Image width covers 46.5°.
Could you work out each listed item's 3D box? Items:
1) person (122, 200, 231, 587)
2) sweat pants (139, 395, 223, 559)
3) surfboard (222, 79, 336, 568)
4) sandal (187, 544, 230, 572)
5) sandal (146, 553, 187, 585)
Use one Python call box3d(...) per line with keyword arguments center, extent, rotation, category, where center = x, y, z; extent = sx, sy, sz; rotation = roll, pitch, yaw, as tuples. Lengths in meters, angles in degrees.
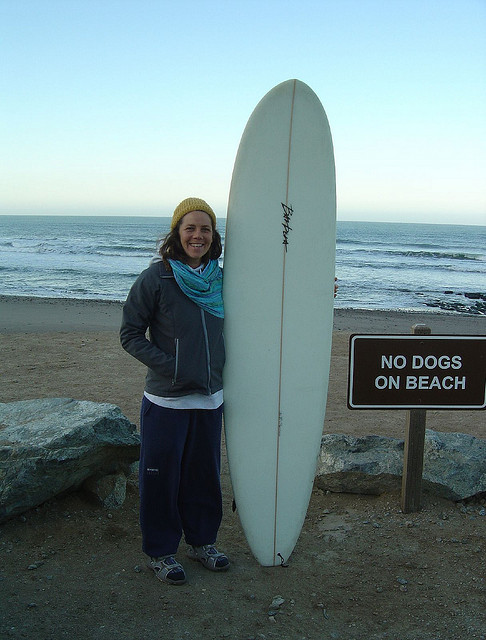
box3d(center=(-0.284, 0.320, 2.434), extent=(0.455, 1.638, 0.290), rotation=(-2, 6, -19), category="person")
box3d(center=(-0.263, 0.686, 2.454), extent=(0.357, 0.711, 0.192), rotation=(-1, 6, -16), category="sweat pants")
box3d(center=(0.185, 0.012, 2.768), extent=(0.447, 2.340, 0.219), rotation=(3, 0, 1), category="surfboard")
box3d(center=(-0.160, 1.071, 2.608), extent=(0.203, 0.102, 0.078), rotation=(2, 3, 43), category="sandal")
box3d(center=(-0.330, 1.066, 2.471), extent=(0.075, 0.093, 0.179), rotation=(6, 4, -39), category="sandal")
